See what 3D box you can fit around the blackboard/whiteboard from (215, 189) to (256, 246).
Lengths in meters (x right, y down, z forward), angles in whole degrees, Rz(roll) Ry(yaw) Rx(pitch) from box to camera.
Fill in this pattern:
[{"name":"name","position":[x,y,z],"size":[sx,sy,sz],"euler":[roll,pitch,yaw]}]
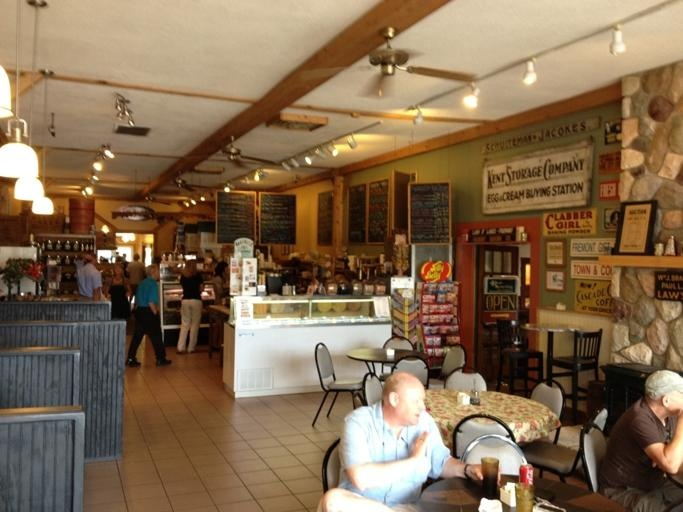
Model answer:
[{"name":"blackboard/whiteboard","position":[-2.388,-0.877,11.757],"size":[0.925,1.168,0.400],"euler":[-1,4,-24]}]

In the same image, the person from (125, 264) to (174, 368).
[{"name":"person","position":[-3.498,1.073,9.382],"size":[0.731,1.829,0.480],"euler":[0,4,-9]}]

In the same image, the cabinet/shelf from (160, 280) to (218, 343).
[{"name":"cabinet/shelf","position":[-3.183,1.174,10.640],"size":[1.628,1.342,0.827],"euler":[1,-1,-20]}]

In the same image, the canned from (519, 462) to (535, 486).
[{"name":"canned","position":[1.031,1.224,2.878],"size":[0.059,0.138,0.165],"euler":[2,3,25]}]

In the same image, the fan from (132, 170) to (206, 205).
[{"name":"fan","position":[-4.641,-1.931,14.343],"size":[1.174,0.143,1.767],"euler":[6,-11,-22]}]

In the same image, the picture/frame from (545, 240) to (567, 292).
[{"name":"picture/frame","position":[3.128,0.138,7.562],"size":[0.075,0.739,0.366],"euler":[-1,4,-20]}]

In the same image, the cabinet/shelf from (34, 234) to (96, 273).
[{"name":"cabinet/shelf","position":[-6.082,-0.058,11.280],"size":[1.064,0.830,0.343],"euler":[0,2,-11]}]

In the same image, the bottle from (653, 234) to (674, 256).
[{"name":"bottle","position":[3.688,-0.118,5.880],"size":[0.211,0.230,0.284],"euler":[-1,3,-30]}]

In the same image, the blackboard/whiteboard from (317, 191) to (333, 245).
[{"name":"blackboard/whiteboard","position":[-0.430,-0.940,13.137],"size":[0.124,1.365,0.903],"euler":[-1,4,-20]}]

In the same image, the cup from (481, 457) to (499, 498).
[{"name":"cup","position":[0.875,1.315,3.050],"size":[0.106,0.232,0.149],"euler":[2,4,16]}]
